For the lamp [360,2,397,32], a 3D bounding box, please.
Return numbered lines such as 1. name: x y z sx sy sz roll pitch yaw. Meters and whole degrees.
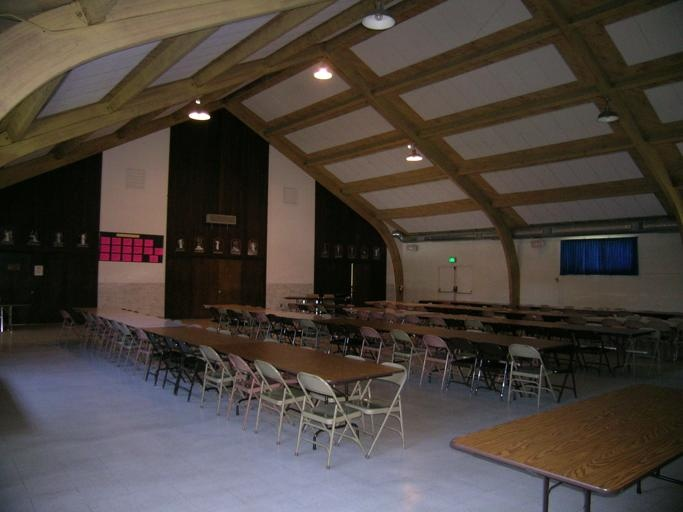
1. lamp: 0.531 -3.429 6.460 0.411 0.474 0.230 1 -5 5
